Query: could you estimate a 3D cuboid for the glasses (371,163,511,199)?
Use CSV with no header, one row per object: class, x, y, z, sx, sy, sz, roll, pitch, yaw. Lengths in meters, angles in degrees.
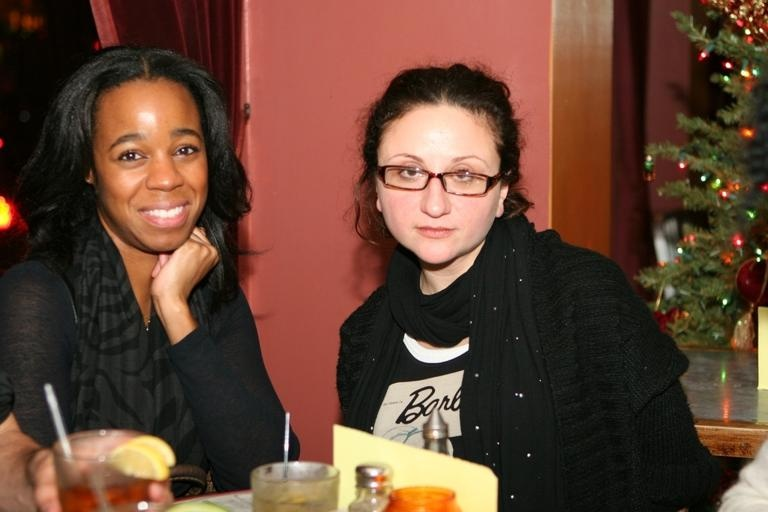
glasses,0.168,-0.236,2.149,0.377,0.116,0.079,-3,-4,2
